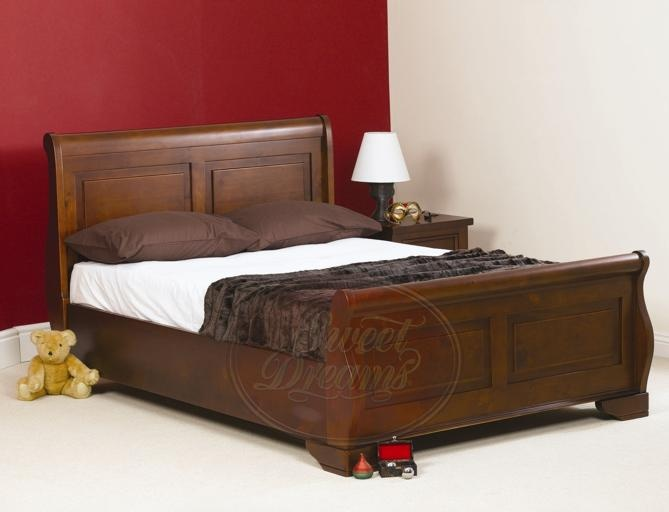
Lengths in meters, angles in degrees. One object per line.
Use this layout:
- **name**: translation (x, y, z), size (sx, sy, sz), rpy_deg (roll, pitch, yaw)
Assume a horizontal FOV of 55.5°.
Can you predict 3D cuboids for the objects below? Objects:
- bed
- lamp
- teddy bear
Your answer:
- **bed**: translation (0.158, -0.090, 3.655), size (2.932, 1.678, 2.381), rpy_deg (3, 7, 42)
- **lamp**: translation (0.359, -0.594, 4.767), size (0.426, 0.673, 0.417), rpy_deg (7, 24, 27)
- **teddy bear**: translation (-1.542, 0.605, 3.516), size (0.400, 0.376, 0.279), rpy_deg (0, 10, -27)
